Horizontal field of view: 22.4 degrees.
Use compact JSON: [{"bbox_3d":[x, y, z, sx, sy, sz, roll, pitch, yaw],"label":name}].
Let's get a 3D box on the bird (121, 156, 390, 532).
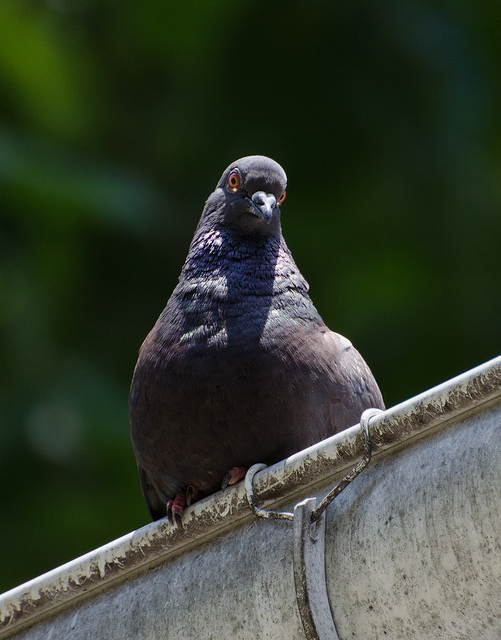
[{"bbox_3d":[0.003,0.247,4.532,0.775,1.361,1.264,2,-30,4],"label":"bird"}]
